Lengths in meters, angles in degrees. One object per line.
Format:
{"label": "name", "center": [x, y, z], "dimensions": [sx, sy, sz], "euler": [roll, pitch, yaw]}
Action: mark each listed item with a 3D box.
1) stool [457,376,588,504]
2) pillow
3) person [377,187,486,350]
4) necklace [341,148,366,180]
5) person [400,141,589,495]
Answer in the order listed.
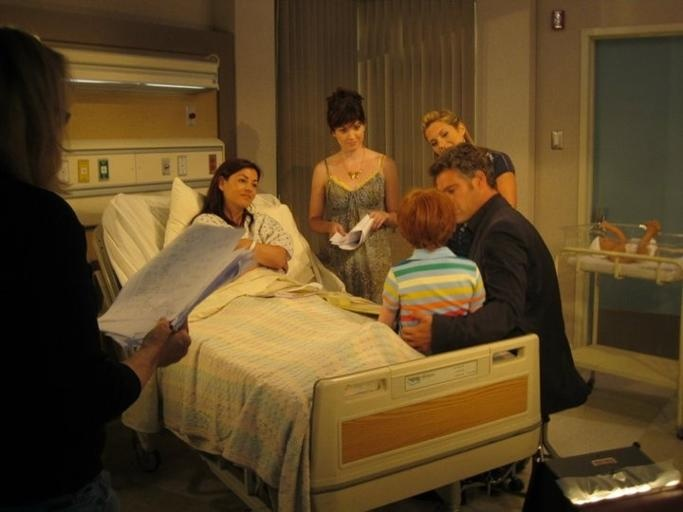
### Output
{"label": "stool", "center": [0.826, 0.815, 2.912], "dimensions": [0.604, 0.947, 0.535], "euler": [0, -2, 3]}
{"label": "pillow", "center": [-0.680, -0.244, 3.787], "dimensions": [0.759, 0.777, 0.255], "euler": [7, -2, 5]}
{"label": "person", "center": [0.352, 0.146, 2.292], "dimensions": [0.362, 0.793, 0.336], "euler": [-1, 13, 13]}
{"label": "necklace", "center": [0.071, -0.577, 3.690], "dimensions": [0.102, 0.211, 0.197], "euler": [-7, 6, -9]}
{"label": "person", "center": [0.587, 0.117, 2.864], "dimensions": [0.980, 1.630, 0.806], "euler": [-1, 1, 11]}
